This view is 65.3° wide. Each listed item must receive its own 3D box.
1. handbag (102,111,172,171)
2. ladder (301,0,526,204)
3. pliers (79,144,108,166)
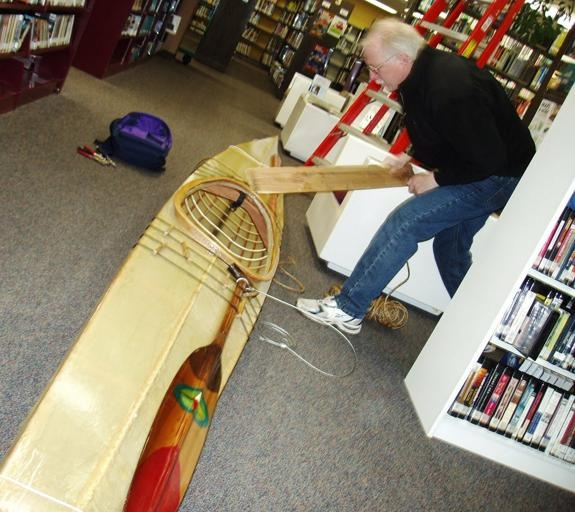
[{"bbox_3d":[-1.066,-0.847,3.211,0.454,0.259,0.444,20,40,-11],"label":"handbag"},{"bbox_3d":[0.750,-0.672,2.176,0.866,0.519,0.721,-101,167,-66],"label":"ladder"},{"bbox_3d":[-1.305,-0.685,2.988,0.096,0.077,0.318,-16,48,-46],"label":"pliers"}]
